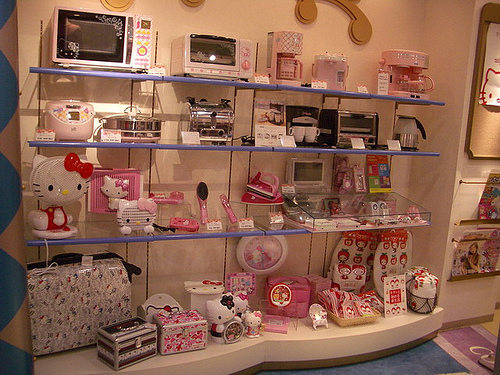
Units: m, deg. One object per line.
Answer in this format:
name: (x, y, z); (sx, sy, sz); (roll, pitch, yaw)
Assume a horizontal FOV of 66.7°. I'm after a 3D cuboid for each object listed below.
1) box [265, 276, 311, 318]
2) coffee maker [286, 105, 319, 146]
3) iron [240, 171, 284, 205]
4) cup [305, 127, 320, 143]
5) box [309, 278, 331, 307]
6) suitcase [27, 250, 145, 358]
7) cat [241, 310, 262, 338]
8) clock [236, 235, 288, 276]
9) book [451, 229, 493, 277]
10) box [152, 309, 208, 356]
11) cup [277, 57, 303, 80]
box: (0.326, 0.949, 3.298); (0.350, 0.332, 0.257); (1, 15, -17)
coffee maker: (0.449, -0.525, 3.294); (0.249, 0.336, 0.288); (2, 9, -2)
iron: (0.109, 0.031, 3.184); (0.293, 0.309, 0.313); (-7, 17, -41)
cup: (0.518, -0.439, 3.190); (0.123, 0.104, 0.103); (0, 12, -2)
box: (0.621, 0.946, 3.412); (0.156, 0.222, 0.233); (6, 16, 24)
suitcase: (-1.114, 0.789, 2.518); (0.671, 0.500, 0.223); (-4, 4, -37)
cat: (0.015, 1.046, 2.900); (0.159, 0.198, 0.116); (6, -16, -29)
clock: (0.083, 0.576, 3.295); (0.390, 0.416, 0.062); (-2, 6, -21)
book: (2.150, 0.627, 3.704); (0.439, 0.412, 0.067); (-8, 25, -28)
box: (-0.506, 1.015, 2.727); (0.368, 0.229, 0.252); (-5, 15, -17)
cup: (0.335, -0.946, 3.026); (0.257, 0.171, 0.102); (-9, 17, -31)
